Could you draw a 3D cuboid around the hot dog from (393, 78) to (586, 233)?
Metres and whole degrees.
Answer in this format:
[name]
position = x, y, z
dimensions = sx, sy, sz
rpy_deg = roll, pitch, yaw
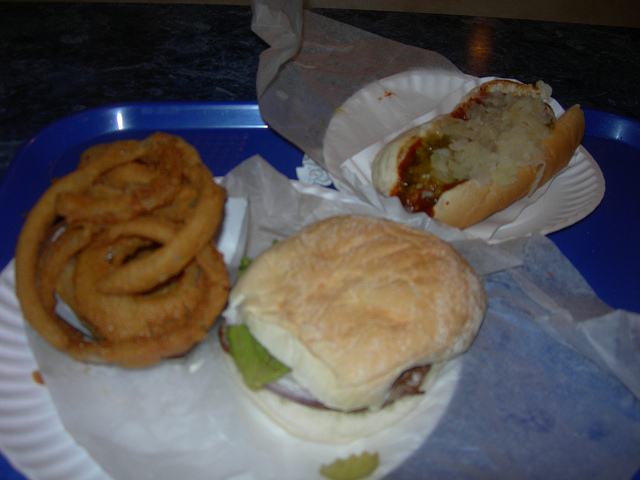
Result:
[hot dog]
position = 0.403, -0.214, 1.363
dimensions = 0.541, 0.174, 0.297
rpy_deg = -34, 52, -23

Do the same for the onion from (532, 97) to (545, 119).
[onion]
position = 0.508, -0.308, 1.288
dimensions = 0.032, 0.014, 0.059
rpy_deg = 7, 77, 1

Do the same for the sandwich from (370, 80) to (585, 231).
[sandwich]
position = 0.365, -0.158, 1.380
dimensions = 0.531, 0.196, 0.272
rpy_deg = -33, 71, -3
